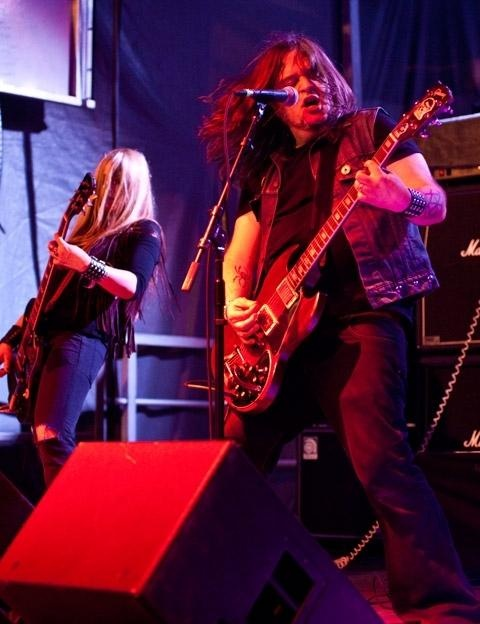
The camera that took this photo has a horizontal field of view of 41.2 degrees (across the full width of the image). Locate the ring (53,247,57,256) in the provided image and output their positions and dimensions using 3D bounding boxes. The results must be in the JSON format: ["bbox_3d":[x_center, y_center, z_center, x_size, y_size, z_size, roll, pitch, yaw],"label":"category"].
[{"bbox_3d":[-0.644,-0.205,2.176,0.010,0.027,0.003,-3,-8,35],"label":"ring"}]

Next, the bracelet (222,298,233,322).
[{"bbox_3d":[-0.041,-0.009,1.859,0.021,0.053,0.009,-15,-25,31],"label":"bracelet"}]

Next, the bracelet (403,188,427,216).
[{"bbox_3d":[0.402,-0.244,1.425,0.040,0.067,0.021,-16,23,-36],"label":"bracelet"}]

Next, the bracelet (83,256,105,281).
[{"bbox_3d":[-0.502,-0.142,2.174,0.060,0.076,0.078,10,48,11],"label":"bracelet"}]

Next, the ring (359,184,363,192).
[{"bbox_3d":[0.268,-0.266,1.387,0.002,0.008,0.015,23,30,-20],"label":"ring"}]
